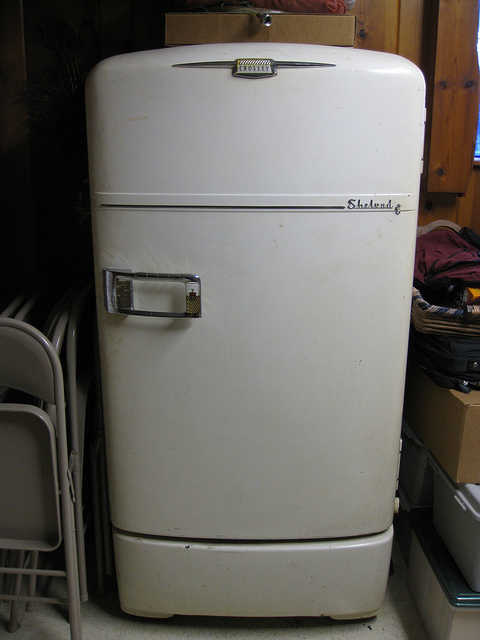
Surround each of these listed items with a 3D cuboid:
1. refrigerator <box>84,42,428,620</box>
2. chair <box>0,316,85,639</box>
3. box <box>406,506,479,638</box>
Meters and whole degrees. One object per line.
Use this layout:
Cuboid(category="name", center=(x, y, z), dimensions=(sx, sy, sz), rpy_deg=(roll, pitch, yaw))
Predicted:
Cuboid(category="refrigerator", center=(0.082, -0.172, 2.127), dimensions=(0.849, 2.205, 0.994), rpy_deg=(-2, 14, -3))
Cuboid(category="chair", center=(-0.521, 0.381, 1.421), dimensions=(0.204, 0.876, 0.383), rpy_deg=(-4, 16, -20))
Cuboid(category="box", center=(0.495, 0.697, 1.487), dimensions=(0.135, 0.235, 0.295), rpy_deg=(-3, 26, -4))
